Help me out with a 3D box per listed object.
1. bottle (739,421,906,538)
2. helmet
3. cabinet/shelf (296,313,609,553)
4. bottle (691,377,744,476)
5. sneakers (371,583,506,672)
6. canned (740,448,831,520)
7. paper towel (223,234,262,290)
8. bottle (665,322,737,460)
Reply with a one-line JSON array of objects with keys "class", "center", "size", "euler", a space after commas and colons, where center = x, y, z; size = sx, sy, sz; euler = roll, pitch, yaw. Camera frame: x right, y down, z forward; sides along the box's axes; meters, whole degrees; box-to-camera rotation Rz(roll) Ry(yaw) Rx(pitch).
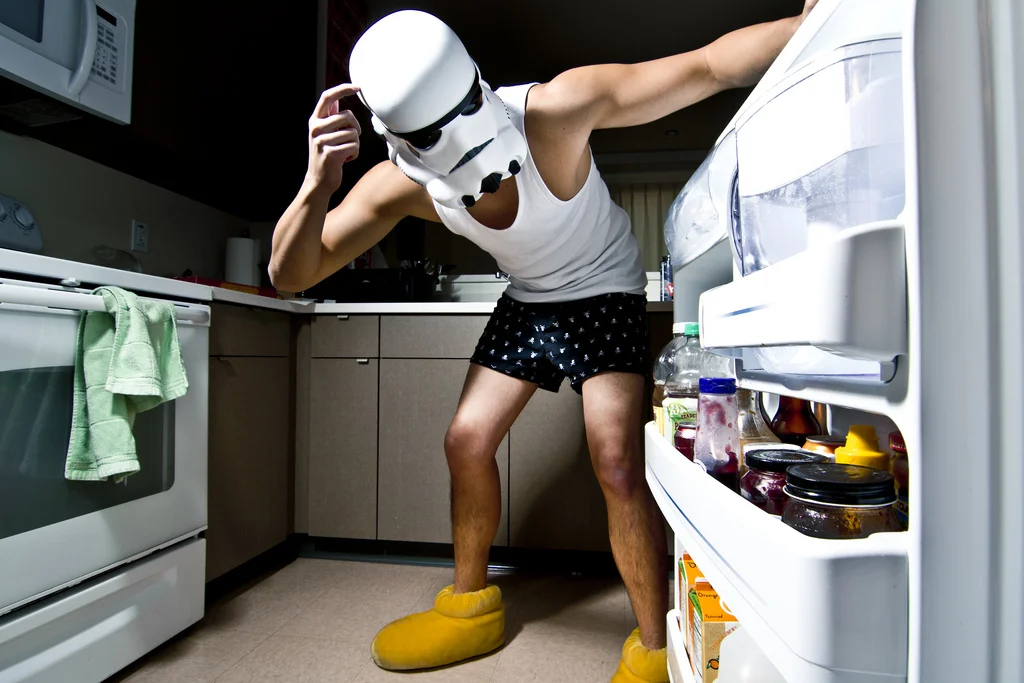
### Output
[{"class": "bottle", "center": [0.390, 0.164, 0.880], "size": [0.107, 0.076, 0.156], "euler": [0, -3, 7]}, {"class": "helmet", "center": [-0.123, -0.384, 1.182], "size": [0.264, 0.303, 0.182], "euler": [1, 3, 10]}, {"class": "cabinet/shelf", "center": [-0.191, 0.134, 2.411], "size": [1.100, 0.868, 0.660], "euler": [0, 0, 14]}, {"class": "bottle", "center": [0.292, 0.122, 1.001], "size": [0.063, 0.145, 0.067], "euler": [0, 3, 0]}, {"class": "sneakers", "center": [-0.173, 0.650, 1.674], "size": [0.262, 0.125, 0.155], "euler": [0, -1, -20]}, {"class": "canned", "center": [0.351, 0.174, 0.925], "size": [0.080, 0.080, 0.086], "euler": [0, 3, 4]}, {"class": "paper towel", "center": [-1.043, -0.314, 2.724], "size": [0.136, 0.187, 0.127], "euler": [-1, 3, -19]}, {"class": "bottle", "center": [0.342, 0.101, 1.304], "size": [0.186, 0.277, 0.197], "euler": [-2, -3, 0]}]
